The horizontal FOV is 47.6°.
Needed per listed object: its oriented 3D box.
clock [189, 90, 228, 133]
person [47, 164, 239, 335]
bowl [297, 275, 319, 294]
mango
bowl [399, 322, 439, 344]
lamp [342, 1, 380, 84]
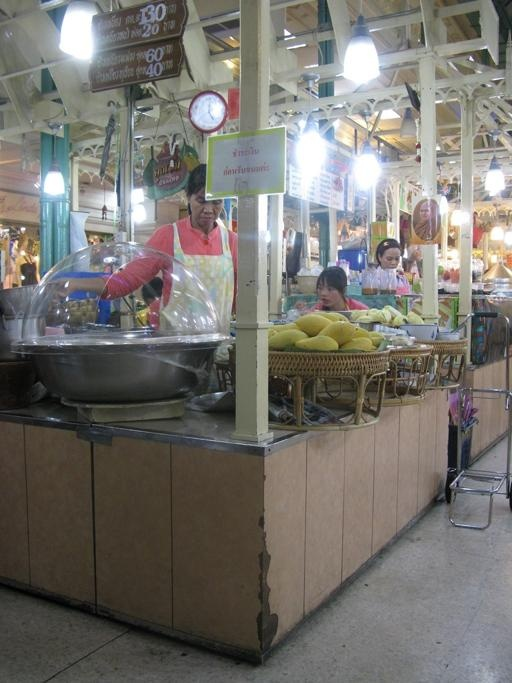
[{"bbox_3d":[-0.412,-1.951,4.898,0.346,0.324,0.078,1,5,15],"label":"clock"},{"bbox_3d":[-0.397,-0.428,2.724,1.109,0.799,0.418,9,11,38],"label":"person"},{"bbox_3d":[0.493,-0.537,5.485,0.208,0.136,0.190,0,-3,0],"label":"bowl"},{"bbox_3d":[0.237,-0.037,1.989,0.439,0.146,0.450,2,-2,-34],"label":"mango"},{"bbox_3d":[0.848,-0.047,2.984,0.143,0.066,0.127,-1,1,-11],"label":"bowl"},{"bbox_3d":[0.611,-1.735,3.391,0.255,0.368,0.264,1,12,-4],"label":"lamp"}]
